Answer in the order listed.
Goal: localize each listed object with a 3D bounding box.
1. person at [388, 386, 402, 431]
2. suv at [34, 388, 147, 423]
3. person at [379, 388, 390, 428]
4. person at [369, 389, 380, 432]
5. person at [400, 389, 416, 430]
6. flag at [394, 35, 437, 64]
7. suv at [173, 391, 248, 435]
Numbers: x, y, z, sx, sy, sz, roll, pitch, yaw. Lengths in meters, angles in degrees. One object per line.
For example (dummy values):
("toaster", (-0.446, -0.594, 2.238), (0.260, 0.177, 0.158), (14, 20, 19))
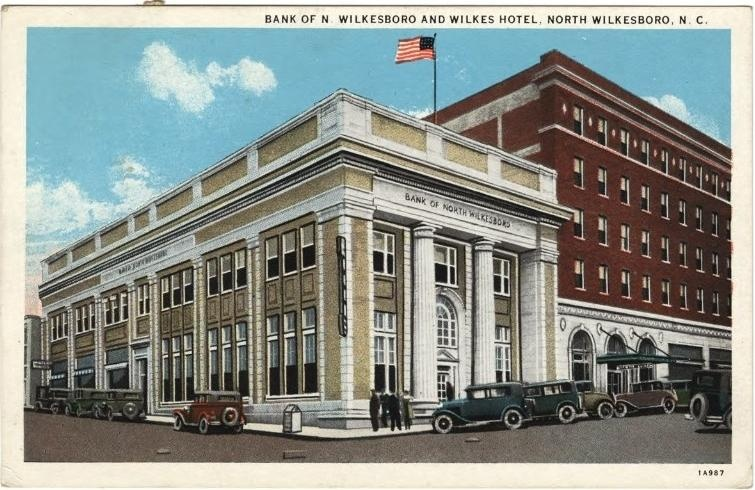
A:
("person", (0.750, 7.057, 50.619), (0.380, 1.716, 0.877), (-18, -26, 41))
("suv", (-12.900, 7.100, 54.131), (4.489, 1.554, 1.113), (10, -22, -28))
("person", (0.272, 6.960, 50.456), (0.376, 1.409, 0.468), (-1, -19, 1))
("person", (-0.128, 7.033, 50.121), (0.410, 1.561, 0.567), (0, -19, 0))
("person", (1.261, 7.074, 51.540), (0.511, 1.905, 1.040), (-2, -19, 6))
("flag", (1.582, -8.489, 50.828), (1.699, 1.101, 1.355), (-1, -19, 1))
("suv", (-7.007, 7.058, 50.789), (1.542, 1.264, 2.782), (12, -15, -43))
